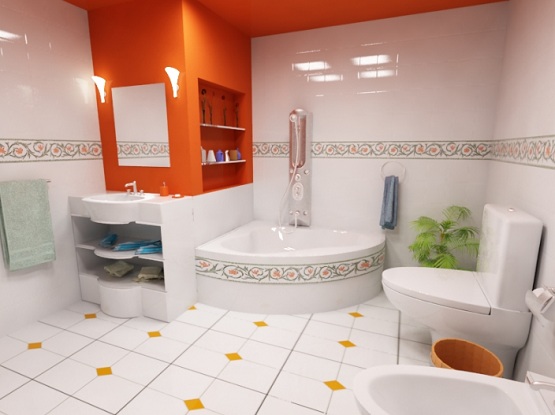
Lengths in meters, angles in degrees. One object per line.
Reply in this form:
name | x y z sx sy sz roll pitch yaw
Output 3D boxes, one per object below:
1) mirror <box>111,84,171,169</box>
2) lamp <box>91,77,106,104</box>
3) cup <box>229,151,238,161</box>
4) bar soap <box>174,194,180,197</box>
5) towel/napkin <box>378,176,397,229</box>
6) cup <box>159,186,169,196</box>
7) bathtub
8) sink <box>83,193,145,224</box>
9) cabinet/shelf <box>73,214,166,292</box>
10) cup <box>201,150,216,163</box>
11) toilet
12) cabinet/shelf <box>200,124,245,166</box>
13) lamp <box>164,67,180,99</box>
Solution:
mirror | -1.416 -0.844 3.857 0.020 0.813 0.721 9 14 27
lamp | -1.898 -1.241 3.902 0.154 0.267 0.090 5 11 23
cup | -0.537 -0.626 4.431 0.103 0.115 0.116 3 10 8
bar soap | -1.017 -0.120 3.734 0.046 0.013 0.046 6 9 42
towel/napkin | 1.228 -0.058 4.128 0.099 0.569 0.229 6 2 -23
cup | -1.150 -0.171 3.755 0.085 0.097 0.071 -4 11 -25
bathtub | 0.053 0.681 3.766 1.421 0.460 1.036 5 12 21
sink | -1.590 0.020 3.587 0.502 0.243 0.519 -4 11 -27
cabinet/shelf | -1.632 0.478 3.781 0.790 0.661 0.398 3 8 18
cup | -0.754 -0.556 4.047 0.159 0.115 0.120 -1 10 -4
toilet | 1.446 0.648 3.133 1.114 1.215 0.871 2 9 16
cabinet/shelf | -0.714 -0.767 4.546 0.836 0.404 0.193 9 35 38
lamp | -1.022 -1.205 3.573 0.147 0.278 0.106 2 10 6
